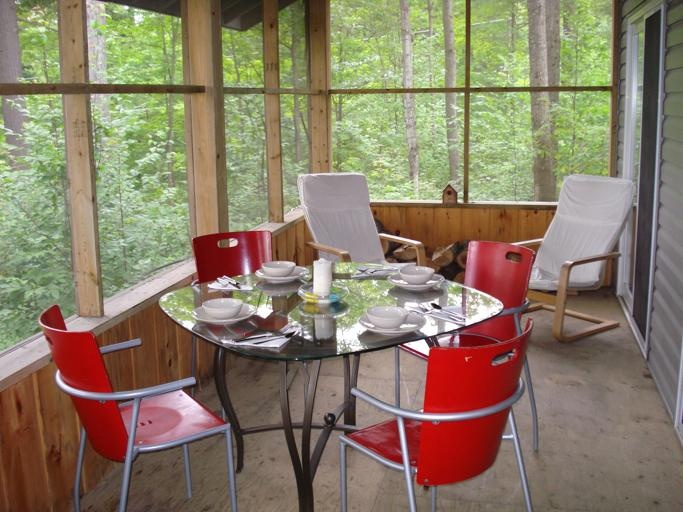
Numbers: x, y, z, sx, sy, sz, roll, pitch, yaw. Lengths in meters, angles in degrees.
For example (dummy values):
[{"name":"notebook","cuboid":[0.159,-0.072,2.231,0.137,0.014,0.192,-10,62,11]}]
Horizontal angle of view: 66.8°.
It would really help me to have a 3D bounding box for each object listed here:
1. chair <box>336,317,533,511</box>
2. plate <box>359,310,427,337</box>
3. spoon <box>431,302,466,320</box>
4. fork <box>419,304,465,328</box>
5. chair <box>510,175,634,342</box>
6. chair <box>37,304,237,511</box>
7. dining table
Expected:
[{"name":"chair","cuboid":[0.300,0.598,1.783,0.602,0.757,0.376,4,17,18]},{"name":"plate","cuboid":[0.212,0.257,1.963,0.136,0.028,0.134,-12,17,-43]},{"name":"spoon","cuboid":[0.443,0.212,2.091,0.048,0.026,0.170,4,9,-19]},{"name":"fork","cuboid":[0.404,0.228,2.074,0.063,0.031,0.204,-11,15,-27]},{"name":"chair","cuboid":[1.824,-0.023,4.163,0.958,1.176,0.824,-11,19,-34]},{"name":"chair","cuboid":[-0.761,0.672,2.009,0.560,1.012,0.543,-10,18,-30]},{"name":"dining table","cuboid":[-0.080,0.394,2.174,1.120,0.791,1.231,8,15,34]}]
